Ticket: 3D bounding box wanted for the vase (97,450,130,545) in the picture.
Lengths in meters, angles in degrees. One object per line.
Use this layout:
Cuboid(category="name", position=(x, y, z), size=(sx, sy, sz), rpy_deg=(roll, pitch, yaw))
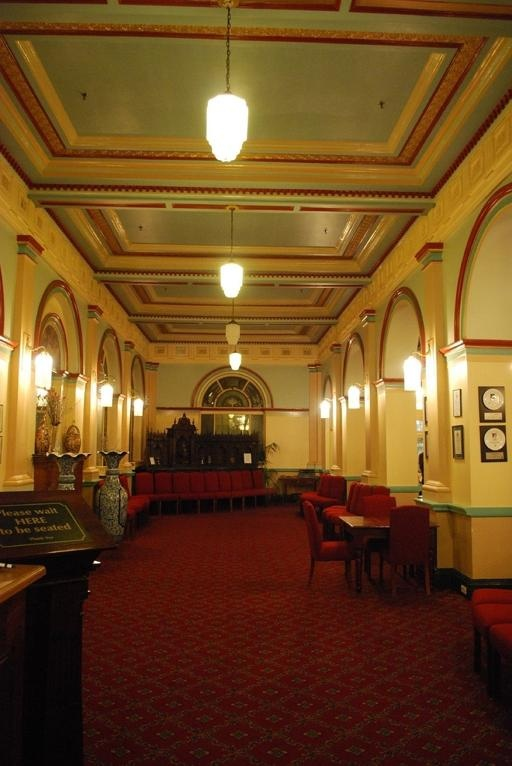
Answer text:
Cuboid(category="vase", position=(-2.396, 1.907, 8.164), size=(0.489, 1.512, 0.895), rpy_deg=(3, -9, -16))
